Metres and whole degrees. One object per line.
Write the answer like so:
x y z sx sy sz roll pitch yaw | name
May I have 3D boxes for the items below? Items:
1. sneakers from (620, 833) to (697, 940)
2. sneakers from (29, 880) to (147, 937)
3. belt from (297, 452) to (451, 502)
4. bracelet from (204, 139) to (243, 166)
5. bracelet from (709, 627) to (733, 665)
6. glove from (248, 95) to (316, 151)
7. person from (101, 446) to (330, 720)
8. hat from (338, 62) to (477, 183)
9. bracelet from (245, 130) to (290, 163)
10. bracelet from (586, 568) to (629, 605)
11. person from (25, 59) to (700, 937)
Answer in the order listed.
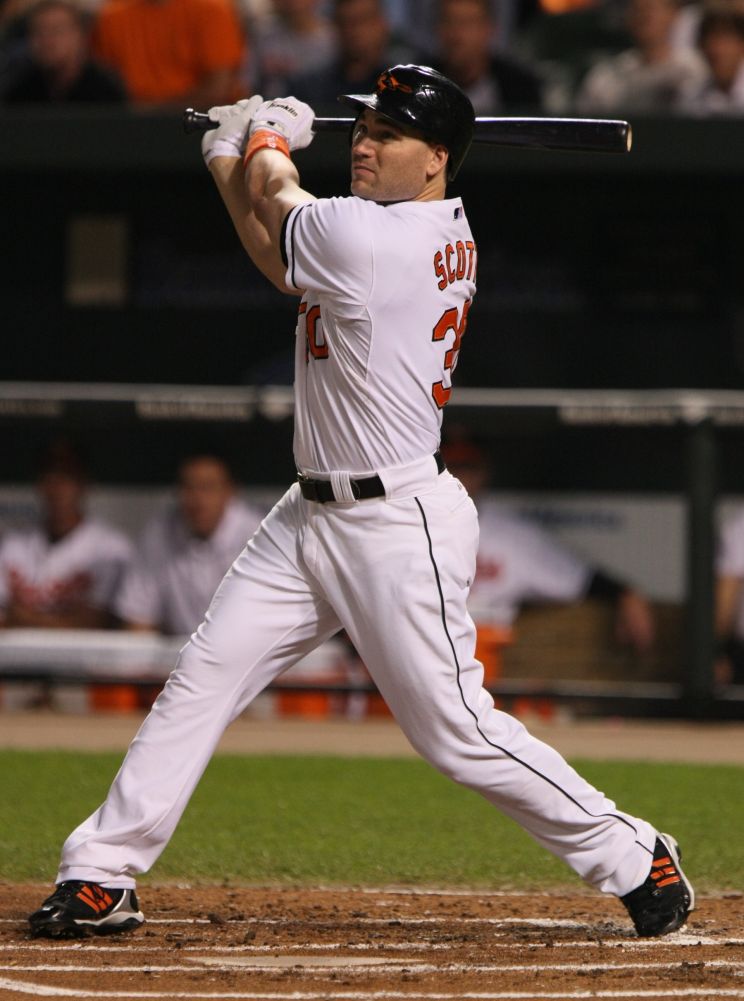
0.508 0.693 2.850 0.108 0.209 0.083 0 -6 -20 | sneakers
-0.485 0.717 2.794 0.188 0.087 0.085 6 -10 -25 | sneakers
0.008 -0.035 2.815 0.259 0.082 0.124 -1 7 -4 | belt
-0.268 -0.648 2.970 0.056 0.038 0.042 3 6 26 | bracelet
1.136 0.480 5.205 0.131 0.106 0.030 3 -4 11 | bracelet
-0.163 -0.710 2.975 0.110 0.049 0.126 26 27 5 | glove
-0.649 0.301 5.644 0.705 0.815 0.242 5 -17 -7 | person
0.096 -0.687 2.861 0.234 0.133 0.166 30 6 -24 | hat
-0.183 -0.629 2.873 0.070 0.032 0.076 3 6 26 | bracelet
0.813 0.302 5.535 0.137 0.123 0.035 31 21 11 | bracelet
-0.035 0.001 2.887 1.149 1.542 0.455 -2 8 -5 | person
